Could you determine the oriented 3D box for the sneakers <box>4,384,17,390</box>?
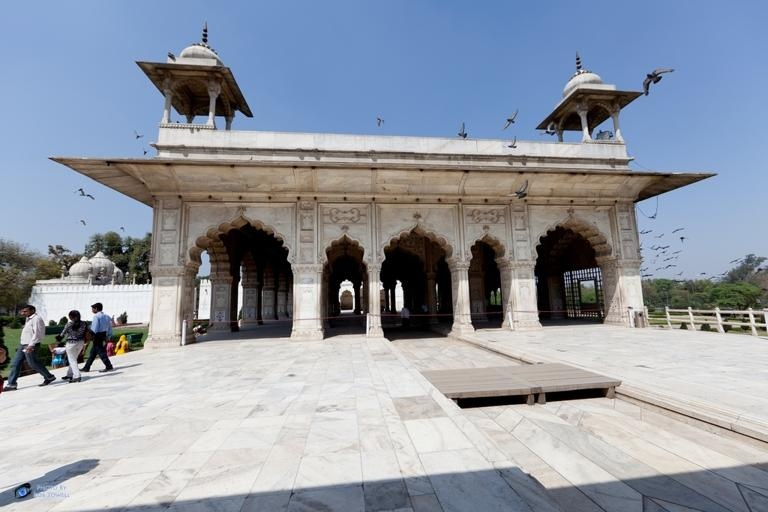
[{"bbox_3d":[-7.920,2.767,9.787,0.214,0.108,0.155,-3,11,-25],"label":"sneakers"}]

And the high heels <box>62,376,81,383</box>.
[{"bbox_3d":[-6.881,2.727,10.278,0.416,0.158,0.127,10,-17,-8],"label":"high heels"}]

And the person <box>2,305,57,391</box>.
[{"bbox_3d":[-7.812,1.938,10.125,0.824,1.847,1.092,-7,14,-36],"label":"person"}]

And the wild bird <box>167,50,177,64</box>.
[{"bbox_3d":[-6.927,-6.506,15.183,0.179,0.224,0.282,5,11,20],"label":"wild bird"}]

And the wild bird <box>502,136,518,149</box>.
[{"bbox_3d":[4.254,-3.795,15.448,0.384,0.240,1.590,4,10,14],"label":"wild bird"}]

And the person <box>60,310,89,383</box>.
[{"bbox_3d":[-7.083,1.977,10.566,0.575,1.716,1.346,-6,13,-33],"label":"person"}]

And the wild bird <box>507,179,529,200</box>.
[{"bbox_3d":[4.641,-2.308,15.875,0.438,0.504,0.760,-2,6,6],"label":"wild bird"}]
